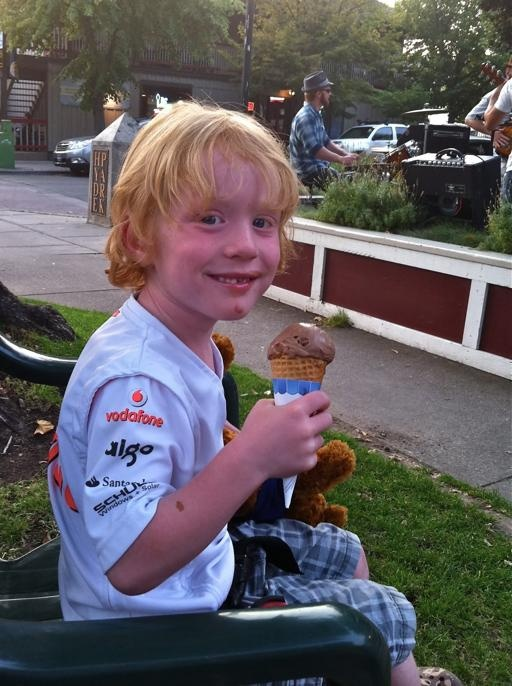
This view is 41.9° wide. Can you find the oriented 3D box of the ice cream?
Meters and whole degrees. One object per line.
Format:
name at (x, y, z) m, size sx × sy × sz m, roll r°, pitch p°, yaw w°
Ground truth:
ice cream at (0.078, 0.140, 1.368) m, size 0.221 × 0.331 × 0.200 m, roll 5°, pitch 9°, yaw -2°
